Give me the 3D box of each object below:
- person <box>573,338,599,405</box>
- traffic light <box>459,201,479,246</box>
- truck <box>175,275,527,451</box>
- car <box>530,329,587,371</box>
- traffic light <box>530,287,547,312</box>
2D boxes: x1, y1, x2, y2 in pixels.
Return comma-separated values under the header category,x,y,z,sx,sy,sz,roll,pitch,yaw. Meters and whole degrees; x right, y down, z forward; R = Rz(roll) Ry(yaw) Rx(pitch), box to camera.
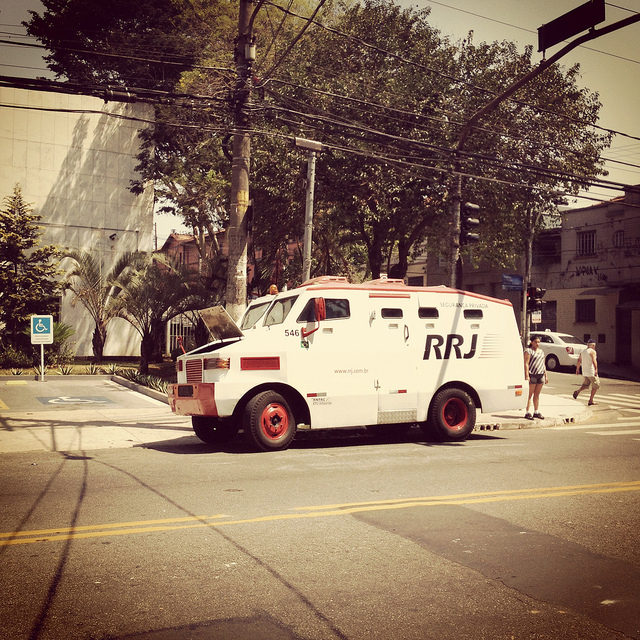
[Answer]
category,x,y,z,sx,sy,sz,roll,pitch,yaw
person,8.511,1.686,24.953,0.753,2.438,0.854,-14,19,-26
traffic light,3.479,-2.211,18.027,0.455,1.192,0.353,-3,-24,18
truck,0.304,0.756,14.332,5.534,3.350,2.992,5,-10,-28
car,10.241,1.304,33.048,1.169,1.715,2.425,5,-2,-24
traffic light,5.667,-0.583,20.276,0.324,0.645,1.278,3,-3,18
